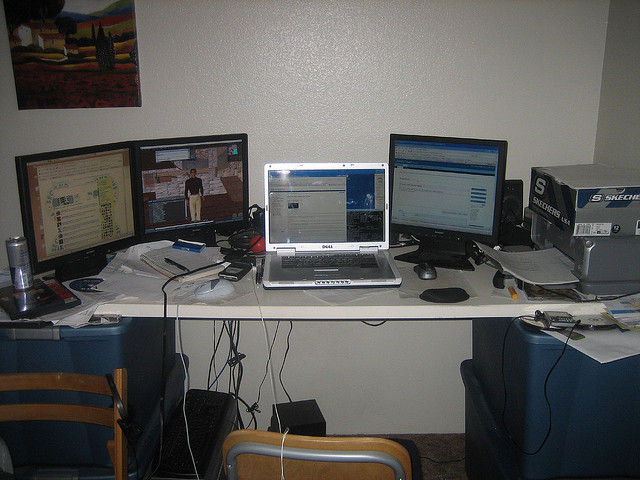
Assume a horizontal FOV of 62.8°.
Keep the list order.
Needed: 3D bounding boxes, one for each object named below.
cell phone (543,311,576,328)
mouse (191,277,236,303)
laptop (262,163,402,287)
[{"bbox_3d":[0.872,0.291,1.921,0.117,0.039,0.080,-2,13,-6],"label":"cell phone"},{"bbox_3d":[-0.416,0.194,2.025,0.132,0.047,0.090,-6,15,-38],"label":"mouse"},{"bbox_3d":[0.036,-0.074,2.162,0.549,0.456,0.337,-1,13,-2],"label":"laptop"}]
